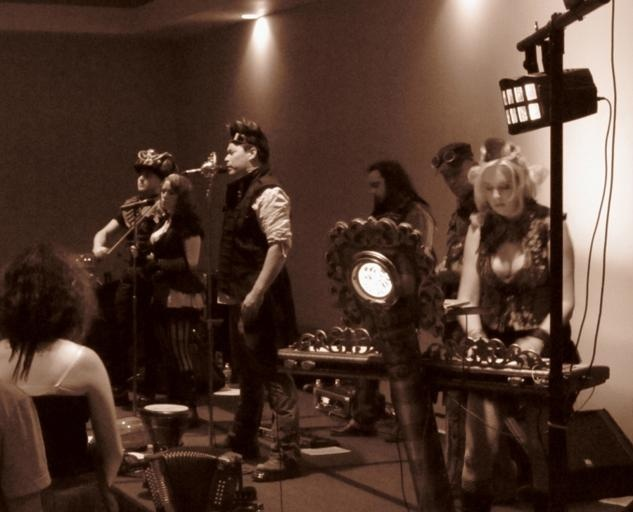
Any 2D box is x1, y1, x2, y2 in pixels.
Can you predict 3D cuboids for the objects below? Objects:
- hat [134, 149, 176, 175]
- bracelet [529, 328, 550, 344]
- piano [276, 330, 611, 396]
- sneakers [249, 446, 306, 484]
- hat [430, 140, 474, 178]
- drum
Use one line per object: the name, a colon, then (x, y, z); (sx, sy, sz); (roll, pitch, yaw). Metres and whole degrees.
hat: (-1.321, -0.845, 5.362); (0.308, 0.197, 0.410); (7, -9, -1)
bracelet: (0.880, 0.312, 2.484); (0.055, 0.046, 0.059); (0, -2, 0)
piano: (0.412, 0.395, 2.324); (1.186, 0.231, 0.279); (1, -1, 27)
sneakers: (-0.212, 1.168, 3.519); (0.383, 0.251, 0.139); (8, -15, -32)
hat: (0.974, -0.701, 4.652); (0.270, 0.263, 0.229); (-8, -25, -31)
drum: (-0.857, 1.026, 3.588); (0.266, 0.270, 0.260); (0, -4, -1)
